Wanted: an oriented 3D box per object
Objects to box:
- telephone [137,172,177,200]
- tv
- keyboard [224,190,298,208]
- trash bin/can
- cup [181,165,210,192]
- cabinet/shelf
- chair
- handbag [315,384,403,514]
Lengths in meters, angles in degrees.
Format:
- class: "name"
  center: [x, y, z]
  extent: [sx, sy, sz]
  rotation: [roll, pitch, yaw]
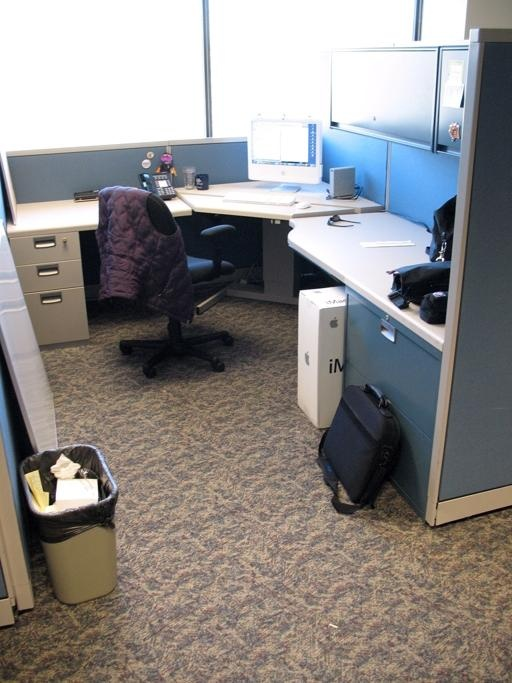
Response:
- class: "telephone"
  center: [-0.640, -1.021, 3.485]
  extent: [0.289, 0.222, 0.090]
  rotation: [-9, -10, -22]
- class: "tv"
  center: [0.194, -1.202, 3.326]
  extent: [0.434, 0.400, 0.151]
  rotation: [9, 30, 18]
- class: "keyboard"
  center: [0.031, -0.857, 3.145]
  extent: [0.283, 0.033, 0.211]
  rotation: [21, 32, 39]
- class: "trash bin/can"
  center: [-0.496, 0.495, 1.388]
  extent: [0.211, 0.345, 0.229]
  rotation: [-13, 33, -16]
- class: "cup"
  center: [-0.411, -1.111, 3.582]
  extent: [0.185, 0.194, 0.138]
  rotation: [26, 36, 28]
- class: "cabinet/shelf"
  center: [0.447, 0.228, 1.679]
  extent: [0.205, 0.568, 0.592]
  rotation: [-1, 22, -12]
- class: "chair"
  center: [-0.469, -0.290, 2.885]
  extent: [0.703, 1.042, 0.718]
  rotation: [17, 33, 27]
- class: "handbag"
  center: [0.365, 0.388, 1.792]
  extent: [0.168, 0.336, 0.287]
  rotation: [7, 27, -13]
